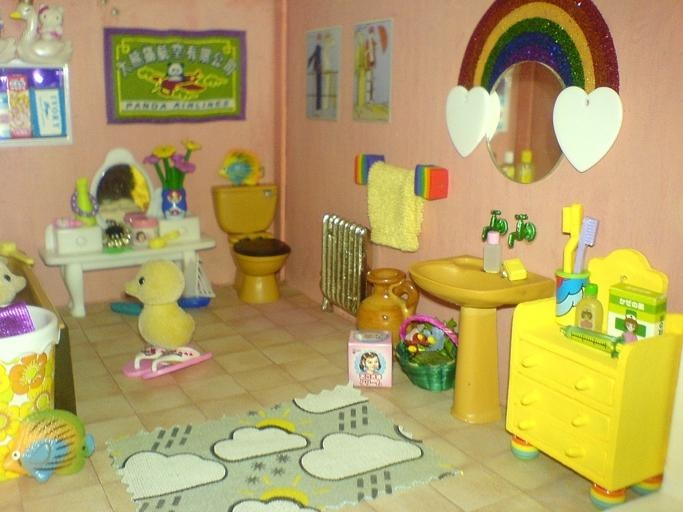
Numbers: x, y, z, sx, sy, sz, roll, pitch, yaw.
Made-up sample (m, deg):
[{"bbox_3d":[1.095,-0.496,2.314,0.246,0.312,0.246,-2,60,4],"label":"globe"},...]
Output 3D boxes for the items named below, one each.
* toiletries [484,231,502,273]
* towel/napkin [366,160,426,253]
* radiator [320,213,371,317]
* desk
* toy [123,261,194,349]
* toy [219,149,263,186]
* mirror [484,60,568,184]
[{"bbox_3d":[0.758,-0.027,2.777,0.091,0.209,0.082,-1,15,5],"label":"toiletries"},{"bbox_3d":[0.316,-0.299,3.369,0.151,0.488,0.486,-6,13,-33],"label":"towel/napkin"},{"bbox_3d":[0.041,0.034,3.872,0.114,0.695,0.625,-6,17,-33],"label":"radiator"},{"bbox_3d":[-1.529,0.039,4.064,1.503,0.527,0.527,-8,18,-31],"label":"desk"},{"bbox_3d":[-1.050,0.281,3.437,0.517,0.632,0.409,1,15,-18],"label":"toy"},{"bbox_3d":[-0.830,-0.748,4.617,0.355,0.287,0.266,-5,15,-10],"label":"toy"},{"bbox_3d":[0.903,-0.666,2.675,0.094,0.706,0.612,-5,7,-28],"label":"mirror"}]
